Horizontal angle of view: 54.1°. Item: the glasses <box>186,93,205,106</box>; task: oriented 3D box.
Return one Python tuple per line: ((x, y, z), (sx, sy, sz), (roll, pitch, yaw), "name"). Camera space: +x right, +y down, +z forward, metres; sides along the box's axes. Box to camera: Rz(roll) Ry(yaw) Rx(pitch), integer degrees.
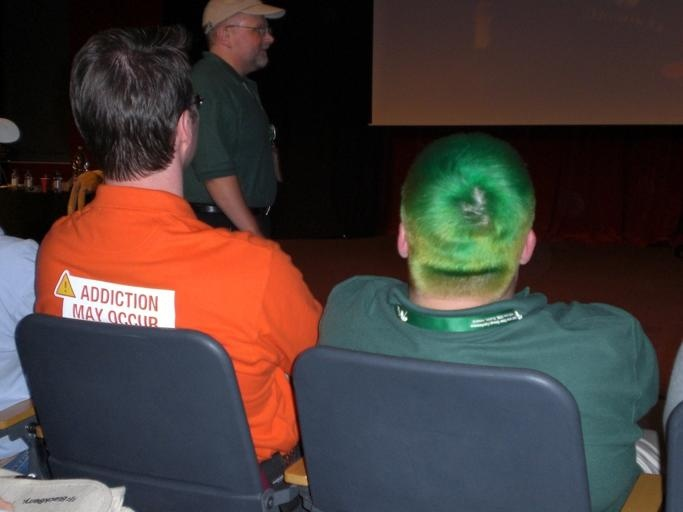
((-0.350, -0.378, 1.621), (0.027, 0.031, 0.187), (-4, 14, -9), "glasses")
